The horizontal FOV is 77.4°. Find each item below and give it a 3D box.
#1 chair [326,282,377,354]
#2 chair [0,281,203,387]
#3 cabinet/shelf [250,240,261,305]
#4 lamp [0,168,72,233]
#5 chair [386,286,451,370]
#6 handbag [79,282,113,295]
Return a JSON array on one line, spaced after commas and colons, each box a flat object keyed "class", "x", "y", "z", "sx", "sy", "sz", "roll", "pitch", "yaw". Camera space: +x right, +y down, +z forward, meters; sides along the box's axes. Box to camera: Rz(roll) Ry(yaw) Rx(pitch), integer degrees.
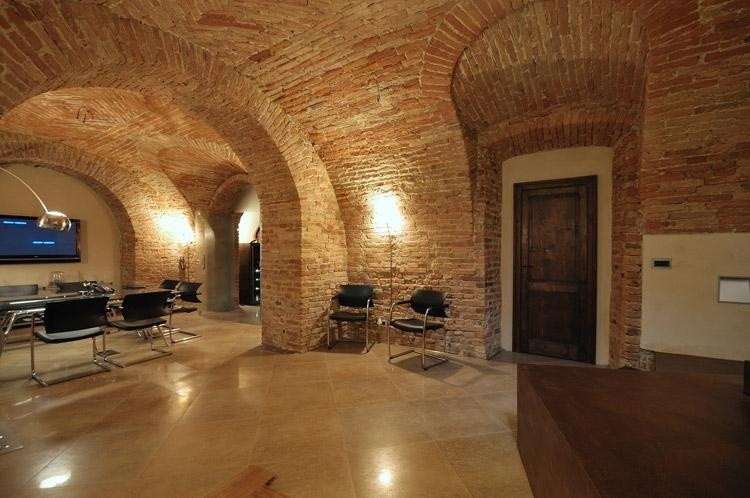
[{"class": "chair", "x": -0.373, "y": 1.077, "z": 7.600, "sx": 0.742, "sy": 0.880, "sz": 0.620, "roll": 0, "pitch": 7, "yaw": 18}, {"class": "chair", "x": -4.365, "y": 0.891, "z": 6.966, "sx": 1.449, "sy": 0.822, "sz": 2.177, "roll": 3, "pitch": 1, "yaw": 36}, {"class": "cabinet/shelf", "x": -2.932, "y": 0.584, "z": 11.789, "sx": 0.294, "sy": 2.053, "sz": 0.507, "roll": -6, "pitch": -37, "yaw": -7}, {"class": "lamp", "x": -5.851, "y": -0.812, "z": 8.084, "sx": 0.779, "sy": 1.258, "sz": 3.013, "roll": -8, "pitch": 12, "yaw": -36}, {"class": "chair", "x": 0.649, "y": 1.171, "z": 7.121, "sx": 0.737, "sy": 0.952, "sz": 0.855, "roll": -9, "pitch": 8, "yaw": -39}, {"class": "handbag", "x": -4.499, "y": 0.665, "z": 7.593, "sx": 0.586, "sy": 0.153, "sz": 0.398, "roll": 1, "pitch": 6, "yaw": 21}]
